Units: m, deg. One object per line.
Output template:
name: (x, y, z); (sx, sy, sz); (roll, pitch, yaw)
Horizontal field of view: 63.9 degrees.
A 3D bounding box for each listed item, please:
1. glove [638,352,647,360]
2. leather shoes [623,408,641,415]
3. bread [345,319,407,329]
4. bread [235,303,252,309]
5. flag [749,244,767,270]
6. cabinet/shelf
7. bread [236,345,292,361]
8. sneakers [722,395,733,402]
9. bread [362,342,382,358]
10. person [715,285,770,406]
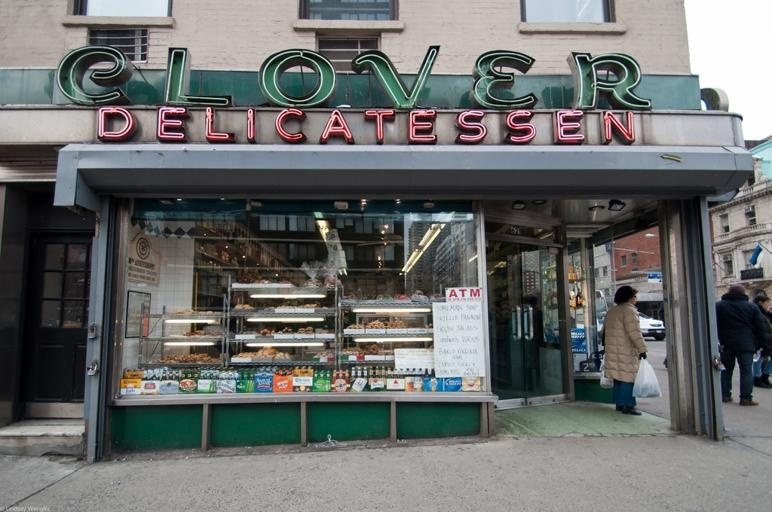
glove: (4.440, 1.738, 10.728); (0.110, 0.109, 0.116); (-4, -2, 31)
leather shoes: (4.406, 2.807, 11.120); (0.278, 0.122, 0.108); (1, -5, 6)
bread: (-0.164, 1.179, 10.814); (1.048, 0.163, 0.272); (0, 13, 5)
bread: (-2.510, 0.908, 10.956); (0.292, 0.077, 0.206); (-2, 13, -5)
flag: (19.288, 0.098, 32.061); (0.189, 0.535, 1.461); (1, -28, 16)
cabinet/shelf: (-1.801, 0.530, 10.974); (4.984, 2.517, 1.402); (-1, 13, 1)
bread: (-2.128, 1.701, 10.805); (0.964, 0.149, 0.404); (0, 13, 5)
sneakers: (6.377, 2.689, 11.573); (0.158, 0.053, 0.113); (-2, 0, 43)
bread: (-0.214, 1.610, 10.686); (0.350, 0.162, 0.330); (-1, 13, 0)
person: (6.659, 1.688, 11.680); (0.908, 2.168, 1.170); (6, 15, 28)
